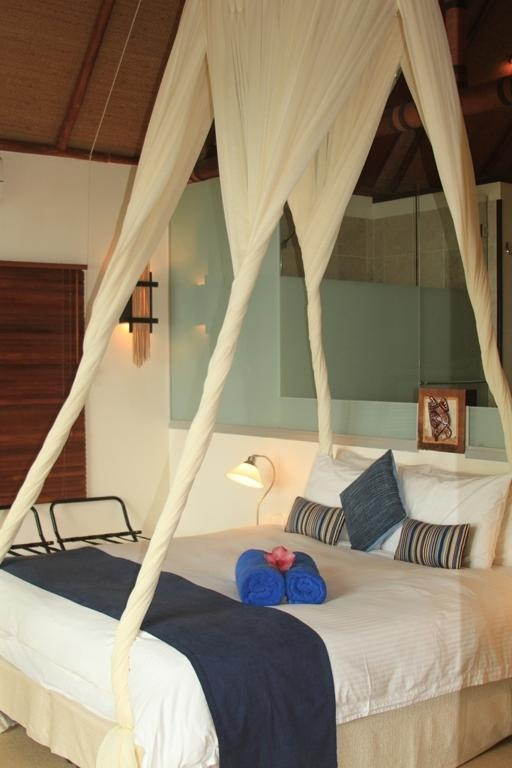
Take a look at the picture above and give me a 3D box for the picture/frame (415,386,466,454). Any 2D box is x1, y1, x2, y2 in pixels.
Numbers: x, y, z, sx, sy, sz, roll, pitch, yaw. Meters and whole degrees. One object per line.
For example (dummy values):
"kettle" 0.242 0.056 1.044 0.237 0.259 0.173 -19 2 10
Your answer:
"picture/frame" 0.920 0.180 2.972 0.039 0.393 0.314 0 2 -33

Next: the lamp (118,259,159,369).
"lamp" -0.972 -0.577 5.031 0.374 0.861 0.125 2 -4 -41
